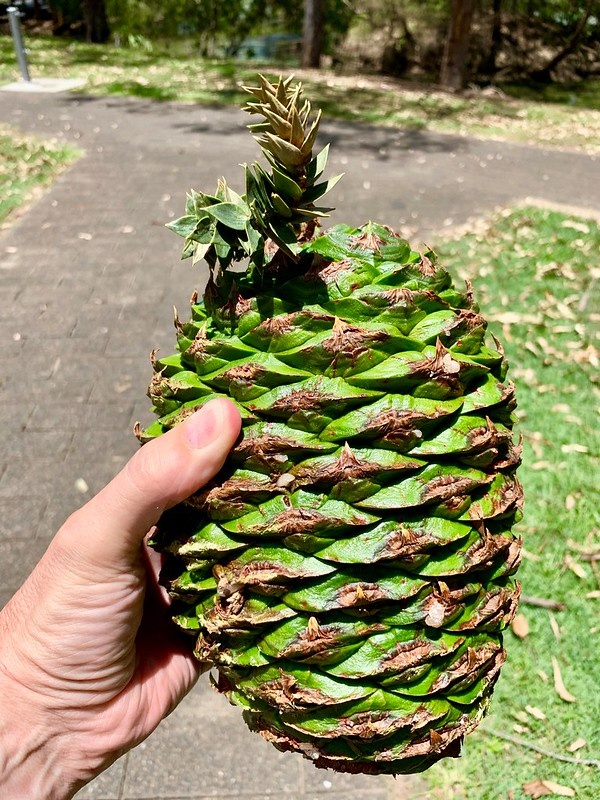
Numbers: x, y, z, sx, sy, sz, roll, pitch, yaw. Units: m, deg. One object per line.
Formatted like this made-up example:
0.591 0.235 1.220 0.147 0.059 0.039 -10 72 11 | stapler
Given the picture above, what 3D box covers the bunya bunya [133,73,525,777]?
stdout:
0.077 0.113 1.704 0.711 1.526 0.820 -18 33 -35 | bunya bunya
